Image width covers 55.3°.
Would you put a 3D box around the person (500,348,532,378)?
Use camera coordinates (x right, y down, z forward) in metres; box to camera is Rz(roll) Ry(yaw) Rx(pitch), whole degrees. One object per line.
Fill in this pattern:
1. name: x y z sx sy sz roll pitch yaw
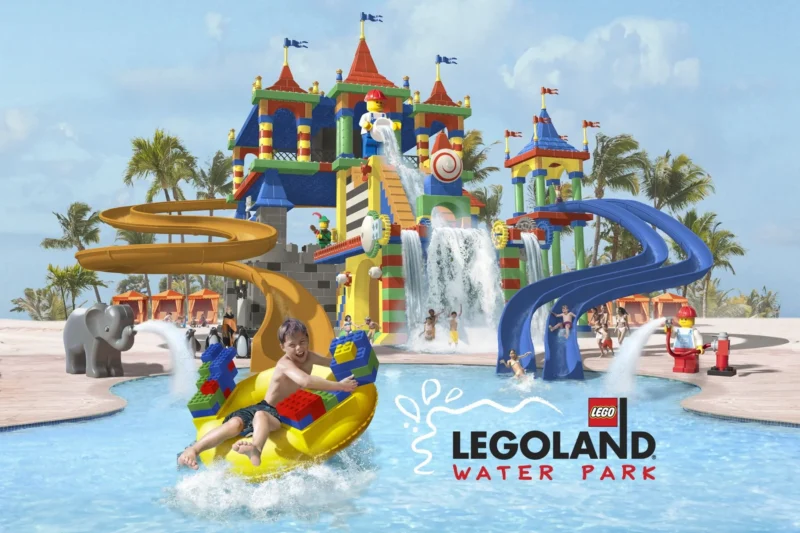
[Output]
1. person: 2.397 1.993 15.697 0.554 0.599 0.859 0 5 3

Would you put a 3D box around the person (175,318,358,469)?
1. person: -1.652 1.687 9.458 1.383 1.106 2.439 8 28 34

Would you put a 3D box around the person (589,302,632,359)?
1. person: 6.125 1.907 22.426 1.365 1.829 0.639 -6 -21 25
